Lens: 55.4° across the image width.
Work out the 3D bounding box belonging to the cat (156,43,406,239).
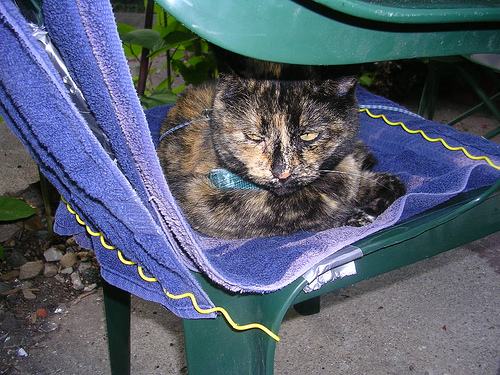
[{"bbox_3d":[0.052,-0.098,1.207,0.572,0.355,0.481,-4,47,-8],"label":"cat"}]

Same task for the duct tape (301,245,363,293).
[{"bbox_3d":[0.185,0.174,0.968,0.126,0.027,0.085,-24,22,-6],"label":"duct tape"}]
